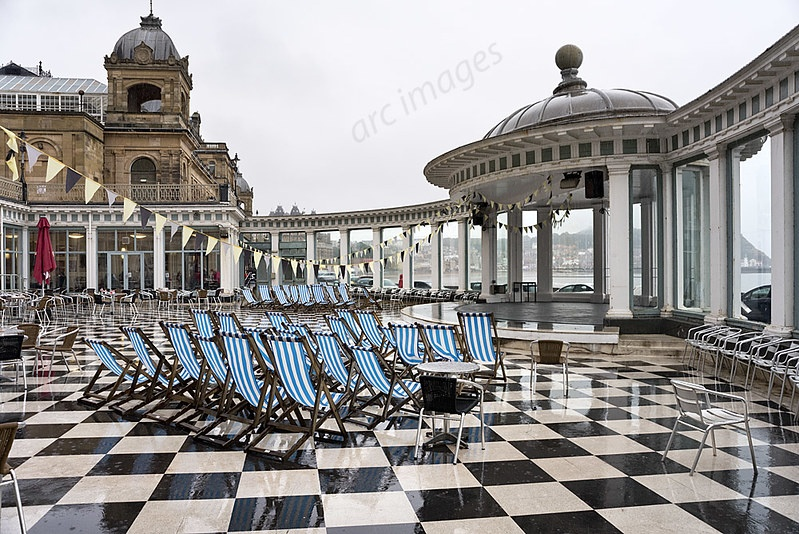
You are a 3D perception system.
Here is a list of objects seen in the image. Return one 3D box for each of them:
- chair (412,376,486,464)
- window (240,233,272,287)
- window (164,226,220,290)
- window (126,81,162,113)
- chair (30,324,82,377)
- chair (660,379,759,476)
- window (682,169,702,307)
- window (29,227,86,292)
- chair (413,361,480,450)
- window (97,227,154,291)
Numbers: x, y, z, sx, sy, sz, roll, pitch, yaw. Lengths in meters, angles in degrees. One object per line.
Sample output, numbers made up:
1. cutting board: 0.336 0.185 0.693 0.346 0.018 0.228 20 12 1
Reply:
1. chair: 0.562 2.021 10.320 1.004 1.538 1.075 0 0 33
2. window: -6.261 -0.112 33.023 1.573 2.962 0.219 2 -36 -31
3. window: -7.378 -0.232 26.148 2.082 2.597 0.092 0 1 -9
4. window: -10.634 -6.660 30.922 1.006 1.872 1.848 -1 3 3
5. chair: -6.334 1.581 13.638 0.709 0.966 0.676 -3 -5 40
6. chair: 4.103 2.044 9.797 0.986 1.146 0.985 -6 5 -25
7. window: 5.777 -0.509 14.603 0.445 2.380 0.092 -13 16 -24
8. window: -11.229 -0.231 24.217 2.073 3.001 0.113 1 -5 -17
9. chair: 0.644 1.917 10.505 0.950 1.170 1.014 0 -4 -2
10. window: -9.829 -0.207 26.702 2.034 2.587 0.047 -1 21 -22
